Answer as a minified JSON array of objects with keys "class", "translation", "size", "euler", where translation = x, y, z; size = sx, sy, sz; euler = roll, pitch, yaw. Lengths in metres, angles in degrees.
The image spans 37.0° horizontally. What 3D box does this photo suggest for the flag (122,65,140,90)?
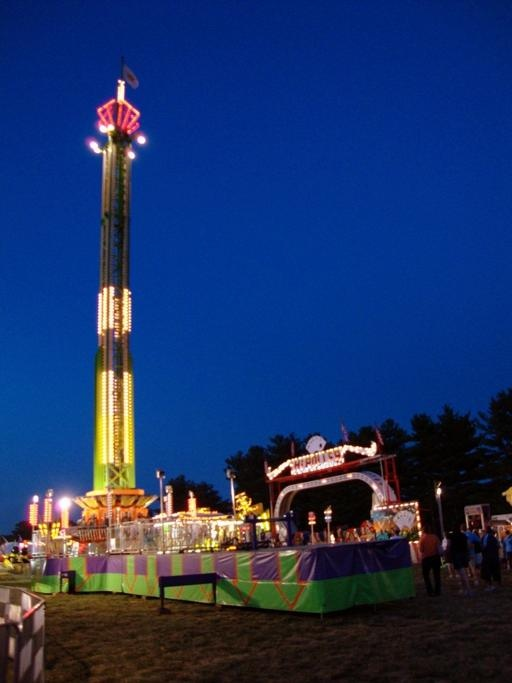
[{"class":"flag","translation":[-8.533,-17.772,51.572],"size":[0.818,1.655,1.397],"euler":[-6,-11,13]}]
